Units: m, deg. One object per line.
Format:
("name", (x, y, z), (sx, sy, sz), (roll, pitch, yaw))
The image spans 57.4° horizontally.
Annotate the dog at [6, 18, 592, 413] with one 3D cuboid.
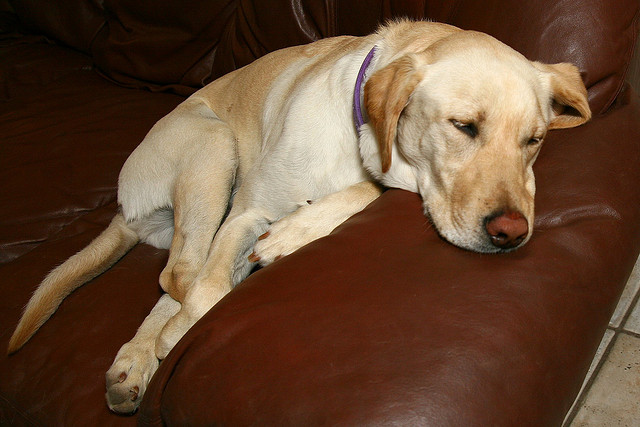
("dog", (-0.071, -0.140, 2.161), (1.545, 0.719, 1.634), (11, 30, 35))
